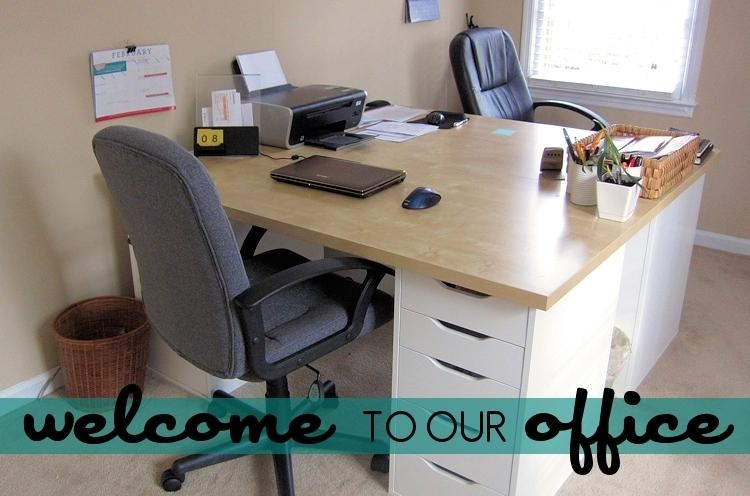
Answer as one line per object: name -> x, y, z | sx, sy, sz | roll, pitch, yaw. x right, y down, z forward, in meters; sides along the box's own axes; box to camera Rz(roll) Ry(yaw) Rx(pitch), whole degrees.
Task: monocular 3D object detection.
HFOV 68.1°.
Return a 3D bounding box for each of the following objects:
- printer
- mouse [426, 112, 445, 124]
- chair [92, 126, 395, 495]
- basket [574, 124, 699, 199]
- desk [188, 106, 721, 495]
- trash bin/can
printer -> -0.479, -0.763, 2.846 | 0.595, 0.389, 0.594 | 23, 36, 35
mouse -> 0.331, -0.712, 3.016 | 0.066, 0.032, 0.091 | 7, 23, 18
chair -> -0.519, 0.279, 2.130 | 0.952, 1.288, 0.893 | 26, 37, 35
basket -> 1.159, -0.344, 2.317 | 0.384, 0.179, 0.513 | 13, 30, 34
desk -> 0.442, 0.030, 2.321 | 1.720, 1.026, 1.700 | 20, 36, 31
trash bin/can -> -1.237, 0.464, 2.728 | 0.499, 0.429, 0.563 | -3, 23, -11
